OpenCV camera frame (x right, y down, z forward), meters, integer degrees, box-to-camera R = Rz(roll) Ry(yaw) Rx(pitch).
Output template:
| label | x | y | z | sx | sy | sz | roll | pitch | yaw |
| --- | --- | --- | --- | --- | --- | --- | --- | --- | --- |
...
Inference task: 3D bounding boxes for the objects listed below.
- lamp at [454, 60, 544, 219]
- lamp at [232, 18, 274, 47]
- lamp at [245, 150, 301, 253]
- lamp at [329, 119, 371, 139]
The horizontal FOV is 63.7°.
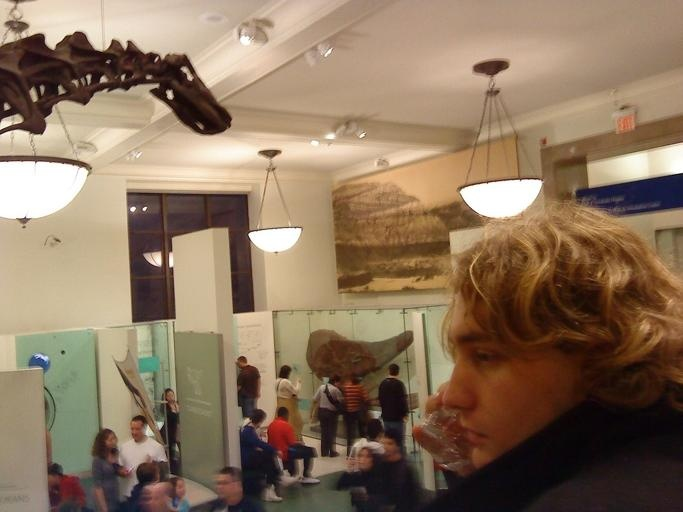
| label | x | y | z | sx | sy | sz | roll | pitch | yaw |
| --- | --- | --- | --- | --- | --- | --- | --- | --- | --- |
| lamp | 1.442 | -1.098 | 5.054 | 0.694 | 1.319 | 0.693 | -14 | 11 | -42 |
| lamp | -0.624 | -1.580 | 3.889 | 0.243 | 0.085 | 0.176 | 3 | -7 | -23 |
| lamp | -1.011 | -0.807 | 8.301 | 0.826 | 1.553 | 0.776 | -4 | -5 | -5 |
| lamp | 0.087 | -1.485 | 6.489 | 0.333 | 0.115 | 0.243 | -1 | 2 | -6 |
